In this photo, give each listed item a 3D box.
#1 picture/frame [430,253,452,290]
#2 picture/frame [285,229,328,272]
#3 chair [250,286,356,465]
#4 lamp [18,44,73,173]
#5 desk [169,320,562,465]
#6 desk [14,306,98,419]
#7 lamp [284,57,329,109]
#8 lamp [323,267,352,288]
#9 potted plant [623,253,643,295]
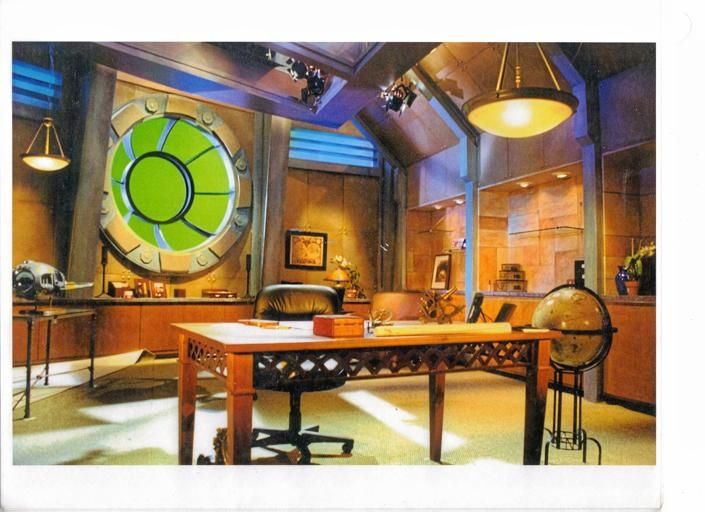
[{"bbox_3d":[1.370,0.247,8.157,0.084,0.679,0.534,7,-6,-20],"label":"picture/frame"},{"bbox_3d":[-0.762,-0.091,8.408,0.629,0.616,0.050,3,-6,-25],"label":"picture/frame"},{"bbox_3d":[-0.426,0.886,4.185,0.853,1.341,0.904,0,-2,41],"label":"chair"},{"bbox_3d":[-3.046,-1.506,5.296,0.378,1.377,0.519,5,-7,-34],"label":"lamp"},{"bbox_3d":[0.026,0.904,3.336,2.302,0.924,0.975,3,-6,-17],"label":"desk"},{"bbox_3d":[-2.643,1.039,4.630,0.468,0.391,0.500,3,14,-19],"label":"desk"},{"bbox_3d":[-0.506,-1.815,5.554,0.457,0.318,0.524,3,-7,-21],"label":"lamp"},{"bbox_3d":[-0.163,0.332,7.884,0.329,0.245,0.347,-3,5,-44],"label":"lamp"},{"bbox_3d":[2.733,0.168,5.141,0.150,0.409,0.159,-2,-6,28],"label":"potted plant"}]
